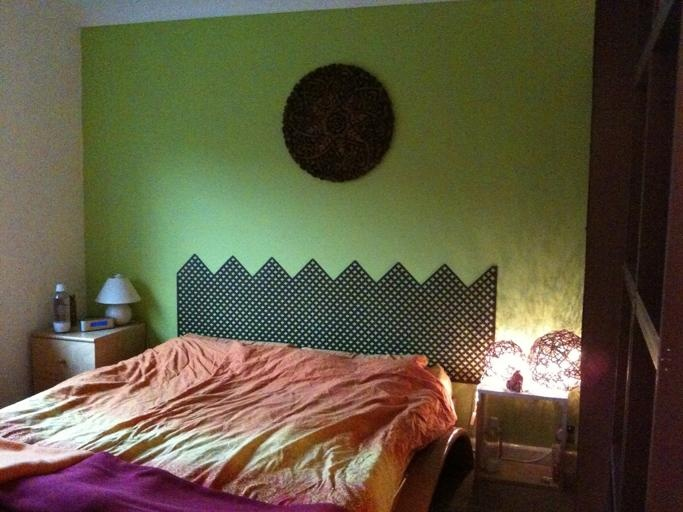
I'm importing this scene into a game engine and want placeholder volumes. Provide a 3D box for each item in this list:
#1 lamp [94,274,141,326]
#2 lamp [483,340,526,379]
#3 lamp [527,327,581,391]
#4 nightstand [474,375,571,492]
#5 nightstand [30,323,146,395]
[{"bbox_3d":[-1.540,0.305,3.874,0.254,0.357,0.263,-5,4,-19],"label":"lamp"},{"bbox_3d":[0.878,0.594,3.160,0.209,0.216,0.177,13,-17,-17],"label":"lamp"},{"bbox_3d":[1.167,0.523,2.975,0.243,0.272,0.249,7,6,-3],"label":"lamp"},{"bbox_3d":[0.984,0.936,3.140,0.531,0.538,0.547,1,-5,12],"label":"nightstand"},{"bbox_3d":[-1.721,0.772,3.806,0.572,0.584,0.438,0,7,17],"label":"nightstand"}]
